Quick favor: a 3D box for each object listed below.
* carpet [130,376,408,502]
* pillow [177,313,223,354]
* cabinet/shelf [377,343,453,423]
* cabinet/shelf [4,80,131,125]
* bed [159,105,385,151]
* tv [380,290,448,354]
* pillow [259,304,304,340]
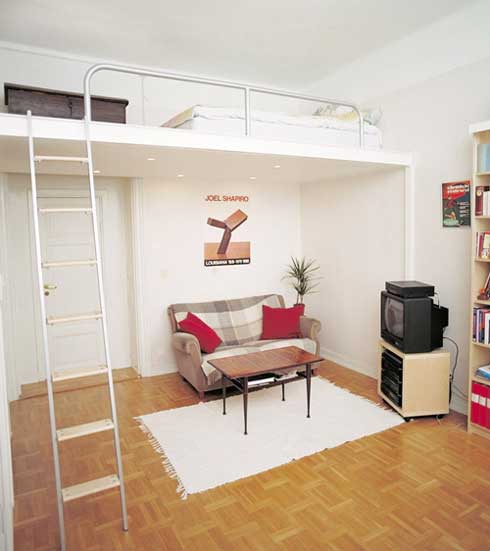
[{"bbox_3d":[0.173,1.282,3.824,1.943,0.023,1.311,-5,8,-27],"label":"carpet"},{"bbox_3d":[-0.501,0.635,4.779,0.388,0.387,0.520,-5,8,-28],"label":"pillow"},{"bbox_3d":[1.421,0.840,4.111,0.536,0.783,0.752,0,1,-14],"label":"cabinet/shelf"},{"bbox_3d":[-1.281,-1.252,3.283,0.882,0.214,0.143,-7,9,-38],"label":"cabinet/shelf"},{"bbox_3d":[0.373,-1.293,3.959,1.962,0.317,0.565,-5,8,-30],"label":"bed"},{"bbox_3d":[1.500,0.398,4.023,0.475,0.509,0.538,0,3,-3],"label":"tv"},{"bbox_3d":[0.429,0.565,5.209,0.379,0.372,0.133,1,-32,10],"label":"pillow"}]
